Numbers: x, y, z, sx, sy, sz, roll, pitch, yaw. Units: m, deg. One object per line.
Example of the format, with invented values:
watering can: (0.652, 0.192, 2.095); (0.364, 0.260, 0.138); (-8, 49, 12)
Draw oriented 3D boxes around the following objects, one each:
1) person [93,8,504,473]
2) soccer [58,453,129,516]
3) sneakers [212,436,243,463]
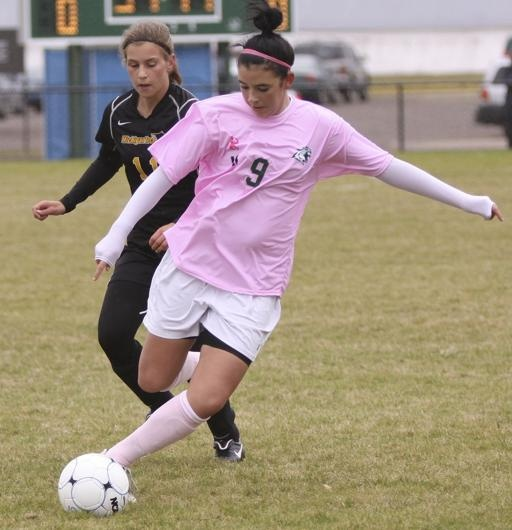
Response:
person: (-0.007, -0.099, 4.637); (1.313, 1.924, 0.444); (1, 16, -8)
soccer: (-0.689, 0.938, 4.737); (0.310, 0.239, 0.256); (-5, 14, -6)
sneakers: (-0.122, 0.848, 5.111); (0.163, 0.097, 0.072); (2, 7, -2)
